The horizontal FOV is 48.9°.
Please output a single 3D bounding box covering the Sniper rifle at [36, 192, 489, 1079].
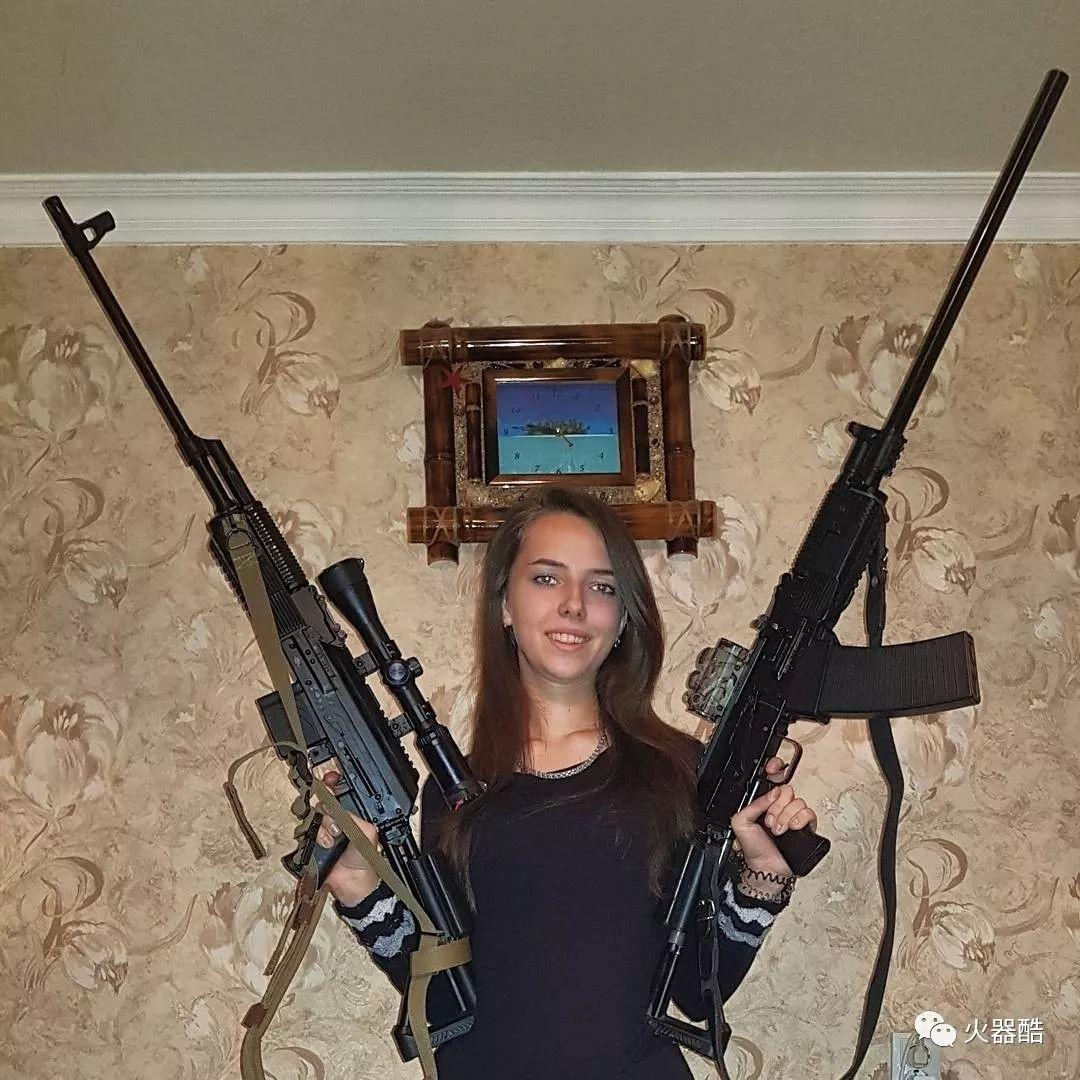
[{"bbox_3d":[-0.410,0.194,2.128,0.454,0.374,1.336,-28,78,4],"label":"Sniper rifle"}]
